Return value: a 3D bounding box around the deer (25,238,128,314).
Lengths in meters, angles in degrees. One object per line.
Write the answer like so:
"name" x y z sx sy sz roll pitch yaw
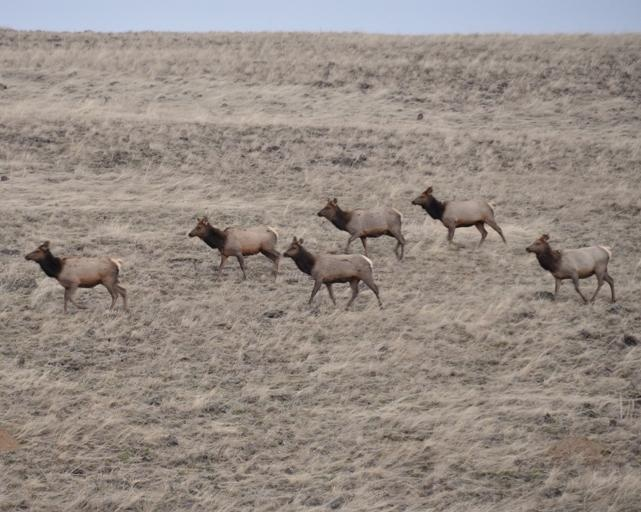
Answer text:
"deer" -8.308 0.727 41.184 3.437 2.282 0.812 2 0 -19

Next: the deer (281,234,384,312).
"deer" 0.482 0.607 41.969 3.228 2.244 1.231 4 1 1

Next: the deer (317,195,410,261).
"deer" 1.552 -1.011 44.273 3.192 2.135 0.782 2 8 3

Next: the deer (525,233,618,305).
"deer" 8.681 0.477 41.653 3.228 2.346 0.936 3 -1 -8

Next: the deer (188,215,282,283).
"deer" -2.972 -0.279 43.180 3.284 2.083 0.874 1 -1 -12

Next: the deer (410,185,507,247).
"deer" 5.165 -1.398 44.891 3.674 2.070 0.749 0 -3 -13
